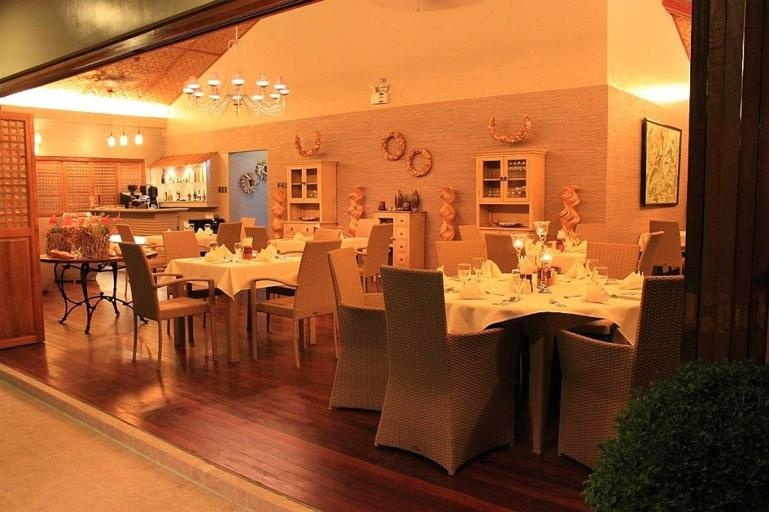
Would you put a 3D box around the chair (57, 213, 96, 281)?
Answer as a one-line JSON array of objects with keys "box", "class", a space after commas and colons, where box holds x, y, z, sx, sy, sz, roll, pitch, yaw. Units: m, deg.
[{"box": [-3.692, -0.021, 6.892, 0.535, 0.582, 0.708, 5, 38, -25], "class": "chair"}]

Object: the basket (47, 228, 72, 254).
[{"box": [-3.945, -0.185, 6.756, 0.305, 0.311, 0.314, 2, -2, 30], "class": "basket"}]

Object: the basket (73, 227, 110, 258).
[{"box": [-3.527, -0.195, 6.790, 0.391, 0.367, 0.386, 9, 10, 32], "class": "basket"}]

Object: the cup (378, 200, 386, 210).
[{"box": [-0.056, -0.975, 10.683, 0.171, 0.169, 0.157, 0, -1, 0], "class": "cup"}]

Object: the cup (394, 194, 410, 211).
[{"box": [0.322, -1.019, 10.522, 0.387, 0.344, 0.238, 2, 1, 15], "class": "cup"}]

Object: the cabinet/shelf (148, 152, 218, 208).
[{"box": [-5.390, -1.988, 14.667, 2.091, 1.290, 0.388, 2, 5, 25], "class": "cabinet/shelf"}]

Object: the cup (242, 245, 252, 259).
[{"box": [-1.461, -0.038, 5.935, 0.130, 0.133, 0.124, 0, 6, 0], "class": "cup"}]

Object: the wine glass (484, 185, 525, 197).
[{"box": [1.963, -1.037, 9.050, 0.721, 0.182, 0.170, 3, 8, 34], "class": "wine glass"}]

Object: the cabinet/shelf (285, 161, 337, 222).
[{"box": [-1.502, -1.331, 11.709, 0.956, 1.279, 0.569, 4, 9, 39], "class": "cabinet/shelf"}]

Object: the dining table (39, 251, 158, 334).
[{"box": [-4.237, 0.519, 8.405, 1.163, 0.703, 1.150, -6, 6, -39], "class": "dining table"}]
